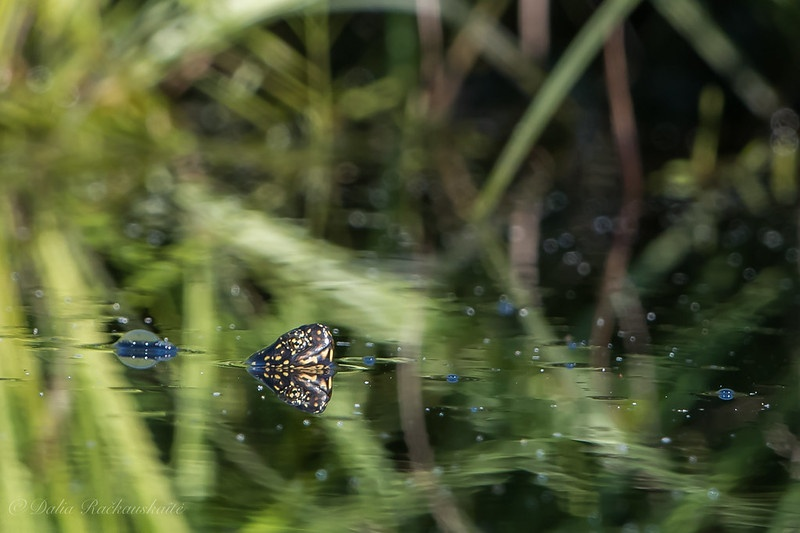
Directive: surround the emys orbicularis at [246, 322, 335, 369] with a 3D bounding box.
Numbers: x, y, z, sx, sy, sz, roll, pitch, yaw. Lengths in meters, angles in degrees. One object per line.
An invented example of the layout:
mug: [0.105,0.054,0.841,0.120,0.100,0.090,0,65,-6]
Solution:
emys orbicularis: [-0.187,0.137,1.758,0.169,0.061,0.098,-2,18,7]
